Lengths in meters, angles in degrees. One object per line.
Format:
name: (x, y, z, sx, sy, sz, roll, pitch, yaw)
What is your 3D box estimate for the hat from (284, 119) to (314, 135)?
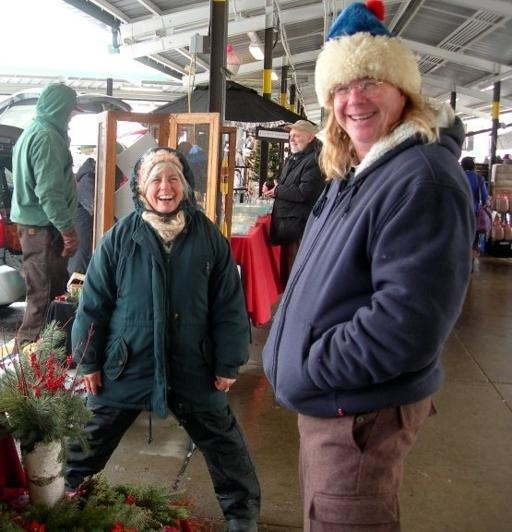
hat: (0.543, -1.542, 5.468, 0.309, 0.093, 0.188, 11, 13, -19)

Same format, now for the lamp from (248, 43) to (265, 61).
lamp: (0.024, -4.902, 11.073, 0.472, 0.162, 0.695, 5, 16, -3)

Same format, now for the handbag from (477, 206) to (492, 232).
handbag: (4.409, -0.912, 9.283, 0.289, 0.538, 0.586, 4, 5, 26)

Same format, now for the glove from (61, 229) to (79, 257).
glove: (-1.611, -0.197, 4.172, 0.174, 0.181, 0.214, -4, 5, -8)

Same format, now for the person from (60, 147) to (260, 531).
person: (-0.378, 0.326, 2.068, 0.797, 1.653, 0.425, 0, 9, 0)
